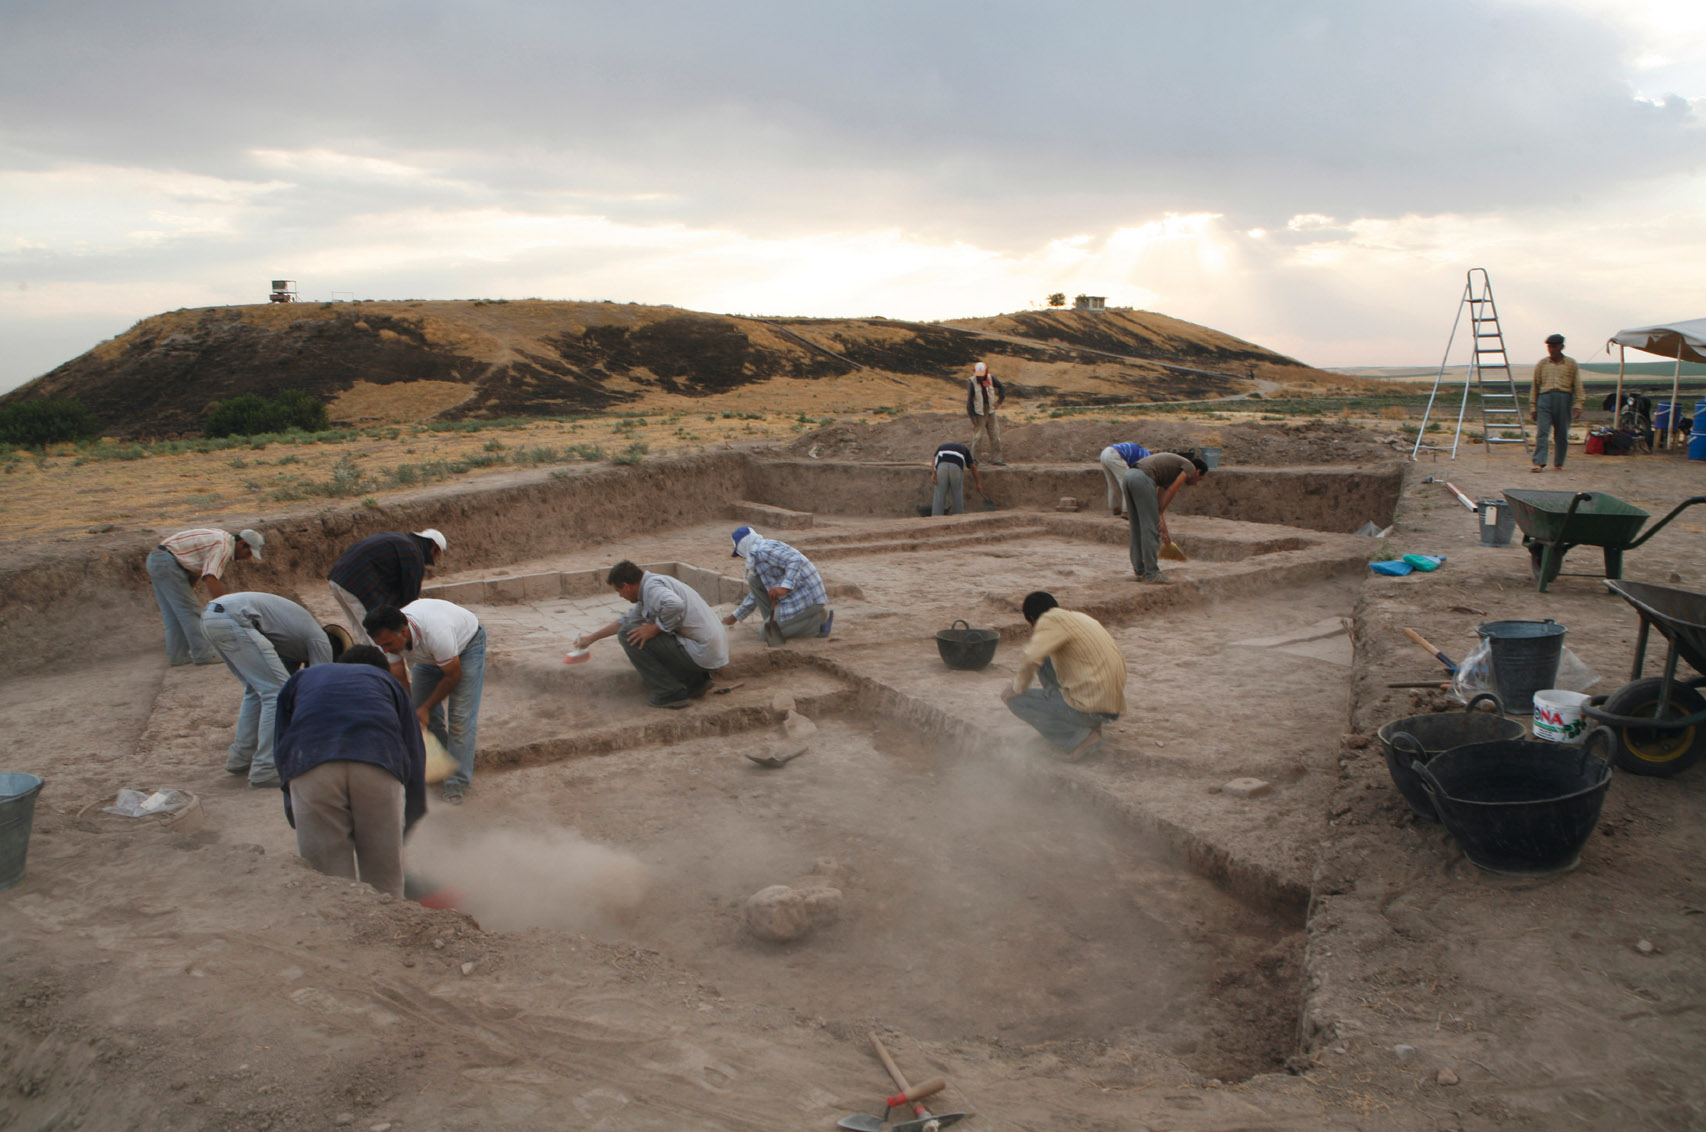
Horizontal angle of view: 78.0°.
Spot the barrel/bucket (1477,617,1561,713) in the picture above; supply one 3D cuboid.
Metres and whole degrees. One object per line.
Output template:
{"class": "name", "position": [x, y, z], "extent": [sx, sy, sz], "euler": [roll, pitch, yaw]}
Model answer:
{"class": "barrel/bucket", "position": [3.383, 0.517, 5.482], "extent": [0.500, 0.473, 0.522], "euler": [4, -8, 1]}

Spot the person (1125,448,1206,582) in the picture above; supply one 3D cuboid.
{"class": "person", "position": [2.863, -0.478, 9.766], "extent": [0.681, 1.176, 1.034], "euler": [1, 12, 16]}

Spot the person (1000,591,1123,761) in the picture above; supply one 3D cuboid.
{"class": "person", "position": [1.216, 0.626, 6.092], "extent": [0.627, 0.948, 0.326], "euler": [-7, 13, -18]}

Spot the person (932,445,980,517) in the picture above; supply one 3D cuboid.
{"class": "person", "position": [1.407, -1.233, 15.037], "extent": [0.626, 0.986, 0.949], "euler": [-2, 11, 5]}

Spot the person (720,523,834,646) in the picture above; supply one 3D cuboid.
{"class": "person", "position": [-0.626, 0.162, 8.416], "extent": [1.018, 0.914, 0.632], "euler": [-4, -9, 14]}

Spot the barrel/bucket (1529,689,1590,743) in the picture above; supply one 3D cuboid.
{"class": "barrel/bucket", "position": [3.209, 0.687, 4.811], "extent": [0.203, 0.172, 0.253], "euler": [-2, -1, 32]}

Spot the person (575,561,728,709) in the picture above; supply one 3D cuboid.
{"class": "person", "position": [-1.431, 0.507, 7.732], "extent": [1.171, 1.001, 0.820], "euler": [-3, -3, 43]}
